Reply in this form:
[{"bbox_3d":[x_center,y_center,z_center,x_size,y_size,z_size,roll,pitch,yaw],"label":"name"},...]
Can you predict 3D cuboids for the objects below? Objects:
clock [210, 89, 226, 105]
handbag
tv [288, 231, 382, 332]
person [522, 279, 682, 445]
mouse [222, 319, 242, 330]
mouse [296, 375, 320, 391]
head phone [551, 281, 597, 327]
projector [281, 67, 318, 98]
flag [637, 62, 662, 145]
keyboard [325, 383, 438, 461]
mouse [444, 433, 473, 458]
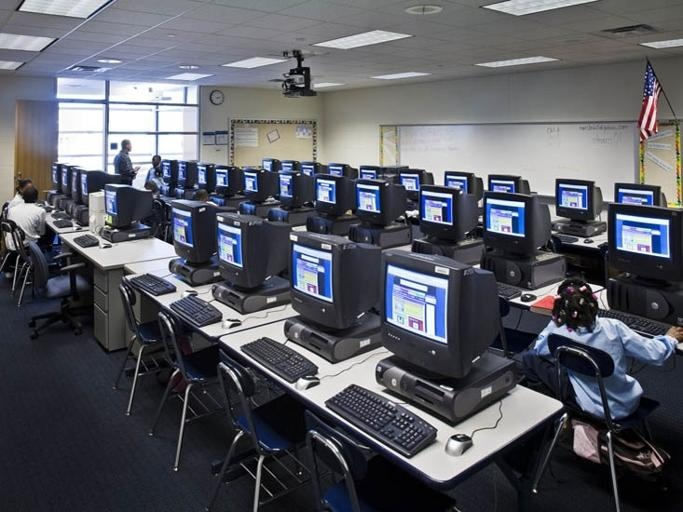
[{"bbox_3d":[-3.055,-3.866,11.699,0.340,0.352,0.075,-5,14,-41],"label":"clock"},{"bbox_3d":[1.614,1.137,2.883,0.424,0.224,0.541,-3,11,-40],"label":"handbag"},{"bbox_3d":[-0.052,0.041,3.176,0.519,0.708,0.709,-12,15,-36],"label":"tv"},{"bbox_3d":[1.490,0.570,2.794,0.688,0.365,0.930,15,36,35],"label":"person"},{"bbox_3d":[-0.752,0.455,3.251,0.055,0.033,0.097,14,19,34],"label":"mouse"},{"bbox_3d":[-0.192,0.674,2.564,0.102,0.035,0.057,-15,21,-40],"label":"mouse"},{"bbox_3d":[1.358,0.271,2.830,0.209,0.261,0.259,-2,9,21],"label":"head phone"},{"bbox_3d":[-0.640,-2.650,7.232,0.426,0.471,0.441,-2,11,-16],"label":"projector"},{"bbox_3d":[4.420,-2.262,6.801,0.268,1.190,1.764,7,12,32],"label":"flag"},{"bbox_3d":[0.178,0.763,2.274,0.554,0.103,0.206,11,15,43],"label":"keyboard"},{"bbox_3d":[0.524,0.818,2.102,0.161,0.052,0.080,-8,14,-37],"label":"mouse"}]
